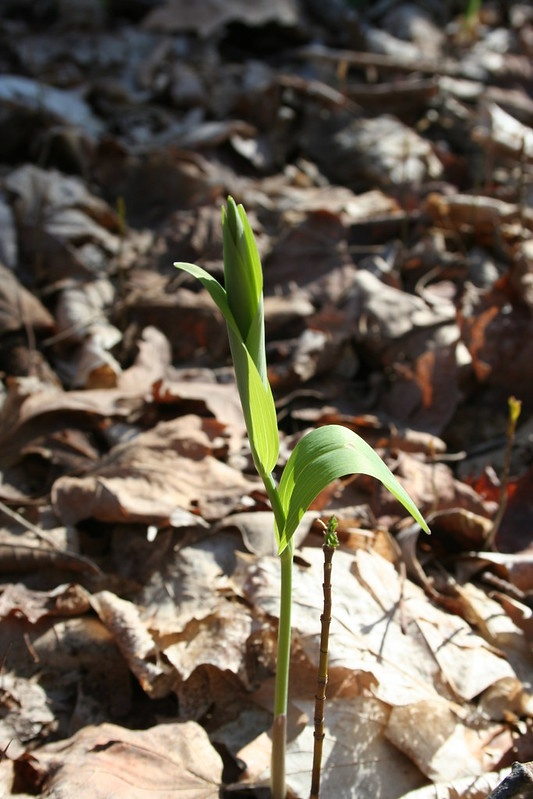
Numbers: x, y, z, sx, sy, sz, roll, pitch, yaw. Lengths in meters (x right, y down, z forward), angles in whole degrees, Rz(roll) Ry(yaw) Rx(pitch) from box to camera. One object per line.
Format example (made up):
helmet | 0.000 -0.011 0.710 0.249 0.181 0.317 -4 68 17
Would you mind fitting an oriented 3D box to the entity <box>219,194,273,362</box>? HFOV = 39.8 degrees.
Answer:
entity | -0.028 -0.145 0.923 0.070 0.206 0.081 6 17 -3
